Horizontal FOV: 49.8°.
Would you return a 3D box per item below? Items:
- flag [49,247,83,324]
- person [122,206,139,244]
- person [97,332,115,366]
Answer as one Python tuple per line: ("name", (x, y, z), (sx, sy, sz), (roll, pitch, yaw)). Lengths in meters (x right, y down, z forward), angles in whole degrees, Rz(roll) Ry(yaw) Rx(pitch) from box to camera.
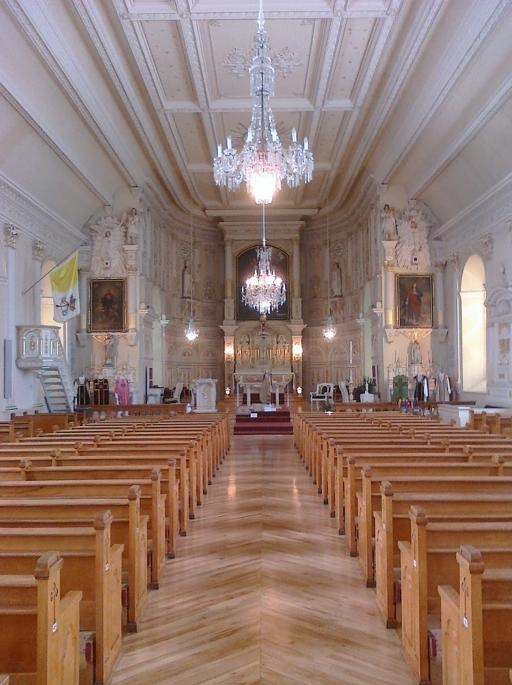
("flag", (-4.951, -1.487, 14.337), (0.729, 1.489, 1.859), (-6, -3, -18))
("person", (-4.009, -3.733, 17.693), (0.546, 1.030, 0.189), (-7, -2, -10))
("person", (-4.748, 0.266, 17.524), (0.576, 0.884, 0.368), (-8, -2, 25))
